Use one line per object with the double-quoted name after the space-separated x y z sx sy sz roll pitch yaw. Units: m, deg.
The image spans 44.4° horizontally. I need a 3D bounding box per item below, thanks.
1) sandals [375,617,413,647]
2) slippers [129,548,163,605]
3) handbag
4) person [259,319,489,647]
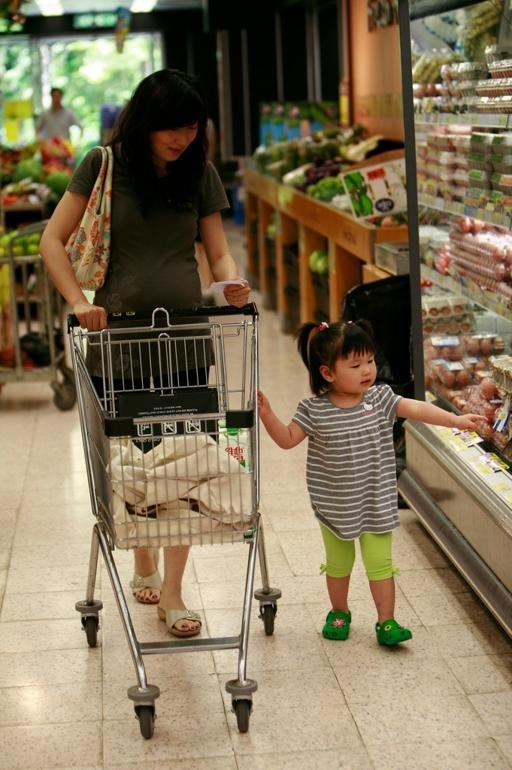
0.372 0.672 1.716 0.057 0.053 0.117 -4 -11 -17 "sandals"
-0.351 0.612 2.031 0.076 0.172 0.240 7 -8 -11 "slippers"
-0.432 -0.440 1.664 0.148 0.359 0.068 2 6 34 "handbag"
0.254 0.272 1.692 0.551 0.880 0.247 -3 6 -15 "person"
